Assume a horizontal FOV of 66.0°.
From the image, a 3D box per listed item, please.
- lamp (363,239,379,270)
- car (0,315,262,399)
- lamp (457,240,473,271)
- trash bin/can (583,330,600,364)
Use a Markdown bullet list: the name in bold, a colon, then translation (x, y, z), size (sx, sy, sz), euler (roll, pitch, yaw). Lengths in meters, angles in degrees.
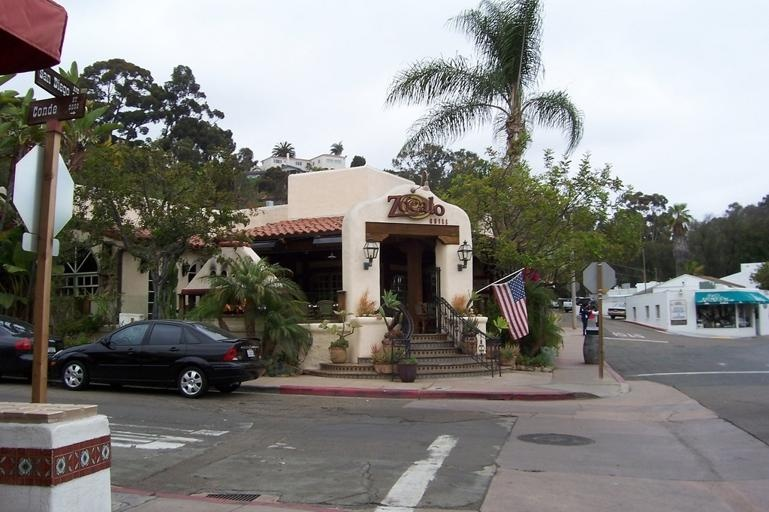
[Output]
- **lamp**: translation (-0.437, -0.029, 19.380), size (0.488, 0.907, 0.352), euler (0, -7, -7)
- **car**: translation (-5.677, 2.536, 14.798), size (4.773, 1.894, 0.738), euler (-3, -7, 9)
- **lamp**: translation (2.800, -0.037, 20.711), size (0.482, 1.025, 0.384), euler (-1, -7, -5)
- **trash bin/can**: translation (7.668, 3.347, 21.938), size (0.488, 1.259, 0.868), euler (-3, -7, 16)
